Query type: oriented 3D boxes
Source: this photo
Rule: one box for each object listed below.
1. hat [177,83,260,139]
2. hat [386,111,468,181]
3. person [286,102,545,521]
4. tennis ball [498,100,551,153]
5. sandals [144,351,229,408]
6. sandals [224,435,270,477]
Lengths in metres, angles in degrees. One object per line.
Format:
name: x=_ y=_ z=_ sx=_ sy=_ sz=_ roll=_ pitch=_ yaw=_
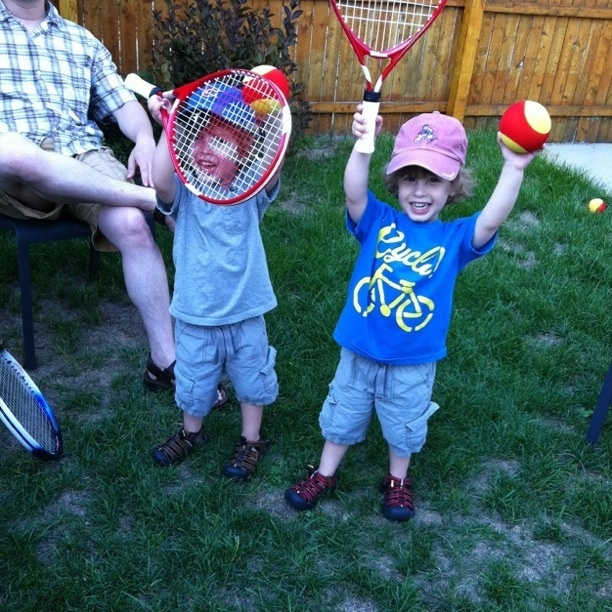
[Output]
hat: x=-0.238 y=-0.579 z=1.719 sx=0.191 sy=0.170 sz=0.164 roll=5 pitch=33 yaw=0
hat: x=0.376 y=-0.514 z=1.918 sx=0.207 sy=0.236 sz=0.401 roll=8 pitch=30 yaw=3
person: x=0.303 y=0.064 z=2.034 sx=0.612 sy=1.318 sz=0.457 roll=8 pitch=25 yaw=2
tennis ball: x=0.642 y=-0.520 z=1.740 sx=0.150 sy=0.134 sz=0.153 roll=7 pitch=29 yaw=-4
sandals: x=-0.550 y=0.294 z=2.704 sx=0.436 sy=0.237 sz=0.177 roll=10 pitch=20 yaw=28
sandals: x=-0.227 y=0.578 z=2.280 sx=0.069 sy=0.064 sz=0.173 roll=16 pitch=35 yaw=19
